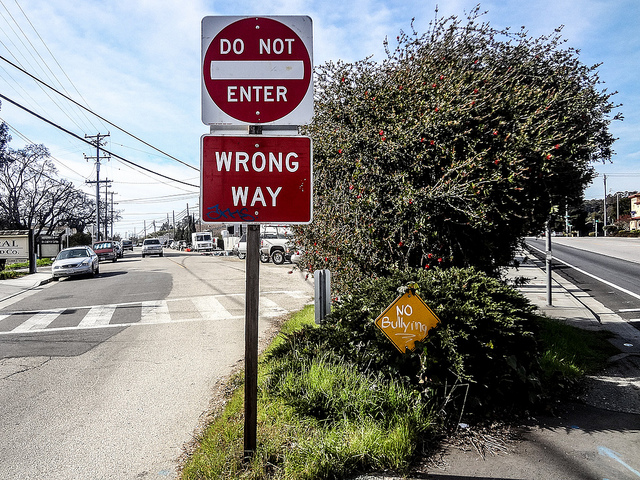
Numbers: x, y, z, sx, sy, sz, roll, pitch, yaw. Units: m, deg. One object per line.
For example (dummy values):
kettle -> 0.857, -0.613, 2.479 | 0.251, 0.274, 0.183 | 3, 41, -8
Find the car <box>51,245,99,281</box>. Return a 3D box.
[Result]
car -> -12.301, 1.118, 24.384 | 1.315, 1.197, 3.115 | -3, -6, -16

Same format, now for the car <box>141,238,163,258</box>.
car -> -16.976, 0.695, 47.895 | 1.254, 1.427, 2.669 | 1, -7, -18

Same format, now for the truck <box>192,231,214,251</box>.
truck -> -13.920, 0.066, 57.350 | 2.186, 2.414, 4.114 | 0, -6, -19

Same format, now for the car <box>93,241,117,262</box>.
car -> -17.516, 0.908, 38.984 | 1.146, 1.166, 2.028 | 0, -8, -15

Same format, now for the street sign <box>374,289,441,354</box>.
street sign -> 1.037, 0.990, 5.734 | 0.748, 0.758, 0.086 | 0, 0, 2

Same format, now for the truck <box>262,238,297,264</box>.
truck -> -2.399, 0.552, 28.098 | 1.511, 1.456, 2.792 | 2, -5, -38

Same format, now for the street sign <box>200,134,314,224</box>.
street sign -> -0.678, -0.663, 5.056 | 1.157, 1.055, 0.087 | -2, 31, -13
